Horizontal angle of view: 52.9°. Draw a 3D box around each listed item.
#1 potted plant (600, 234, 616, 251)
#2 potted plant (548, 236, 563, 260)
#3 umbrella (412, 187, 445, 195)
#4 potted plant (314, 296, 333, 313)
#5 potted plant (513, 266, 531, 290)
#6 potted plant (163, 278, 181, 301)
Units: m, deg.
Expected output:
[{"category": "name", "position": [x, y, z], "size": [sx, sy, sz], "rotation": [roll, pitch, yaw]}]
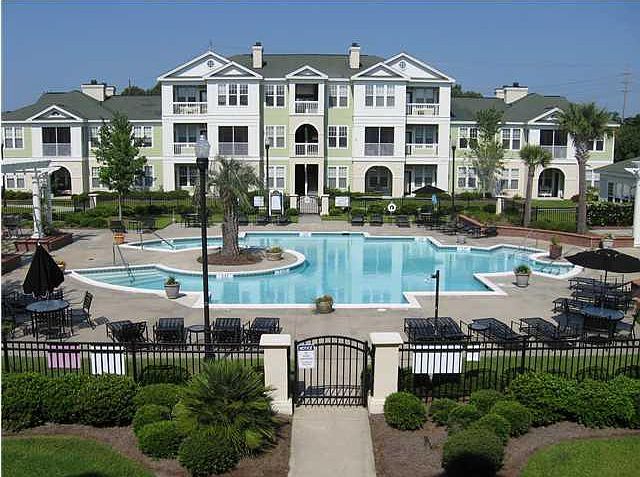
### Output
[{"category": "potted plant", "position": [14.725, 0.208, 33.011], "size": [0.748, 0.450, 1.083], "rotation": [-1, 3, 14]}, {"category": "potted plant", "position": [12.360, 0.597, 33.956], "size": [0.545, 1.122, 0.714], "rotation": [1, 2, 18]}, {"category": "umbrella", "position": [8.467, -3.766, 49.713], "size": [1.711, 0.698, 5.193], "rotation": [1, 2, 14]}, {"category": "potted plant", "position": [0.144, 2.592, 24.866], "size": [0.557, 0.474, 0.597], "rotation": [0, -4, -1]}, {"category": "potted plant", "position": [8.953, 1.730, 28.701], "size": [0.839, 1.039, 0.846], "rotation": [0, -1, 15]}, {"category": "potted plant", "position": [-6.021, 2.082, 26.434], "size": [0.859, 1.209, 0.712], "rotation": [0, 0, -6]}]
